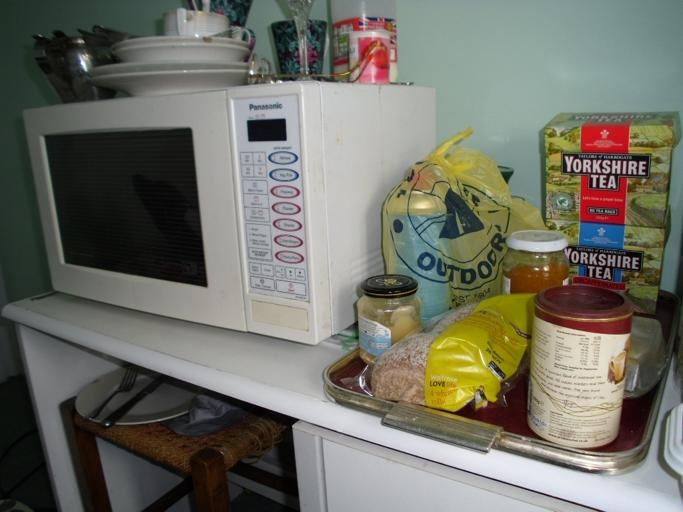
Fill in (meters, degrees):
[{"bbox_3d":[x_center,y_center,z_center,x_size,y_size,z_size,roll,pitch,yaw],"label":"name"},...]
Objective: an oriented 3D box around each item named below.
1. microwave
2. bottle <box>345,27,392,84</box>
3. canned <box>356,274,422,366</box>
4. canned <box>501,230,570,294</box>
[{"bbox_3d":[-0.210,-0.102,1.128,0.792,0.505,0.535,5,12,28],"label":"microwave"},{"bbox_3d":[0.063,-0.406,1.093,0.098,0.104,0.114,-3,19,-4],"label":"bottle"},{"bbox_3d":[0.065,0.109,0.961,0.117,0.156,0.141,-4,9,-16],"label":"canned"},{"bbox_3d":[0.329,-0.005,0.916,0.102,0.114,0.103,3,14,27],"label":"canned"}]
